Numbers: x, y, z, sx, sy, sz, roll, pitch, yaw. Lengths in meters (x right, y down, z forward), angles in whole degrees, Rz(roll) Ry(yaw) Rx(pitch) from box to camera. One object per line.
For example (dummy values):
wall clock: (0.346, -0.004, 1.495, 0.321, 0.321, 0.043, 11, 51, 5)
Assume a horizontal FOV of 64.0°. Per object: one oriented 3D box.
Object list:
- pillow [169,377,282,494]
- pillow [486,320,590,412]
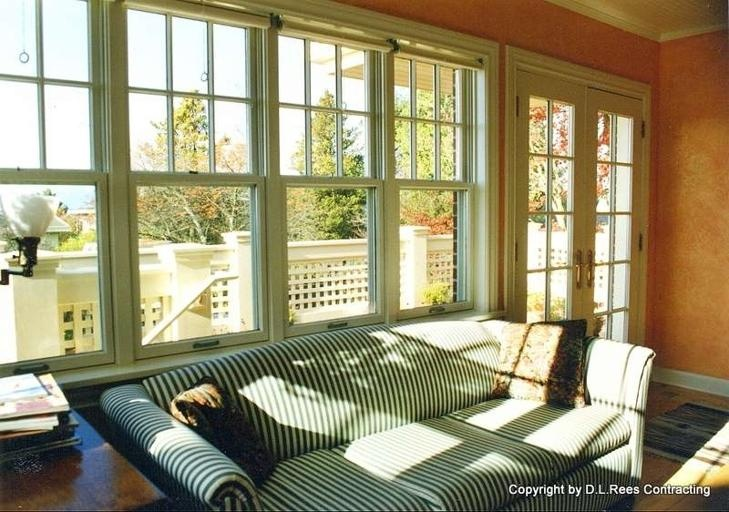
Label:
pillow: (-0.617, 0.793, 2.670, 0.149, 0.459, 0.486, -38, -5, 8)
pillow: (1.096, 0.660, 3.583, 0.569, 0.508, 0.177, 2, -19, 32)
